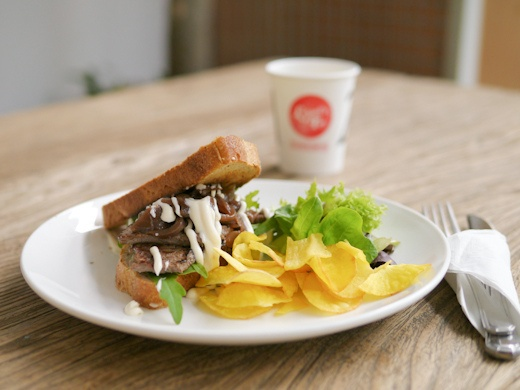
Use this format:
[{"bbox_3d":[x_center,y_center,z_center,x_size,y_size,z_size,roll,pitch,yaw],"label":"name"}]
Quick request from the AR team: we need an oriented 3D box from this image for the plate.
[{"bbox_3d":[-0.100,0.071,1.140,0.730,0.345,0.750,-6,10,-29],"label":"plate"}]

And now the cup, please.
[{"bbox_3d":[0.215,-0.366,1.966,0.434,0.452,0.438,0,22,0],"label":"cup"}]

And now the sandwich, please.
[{"bbox_3d":[-0.248,-0.014,1.277,0.400,0.487,0.303,16,21,42],"label":"sandwich"}]
